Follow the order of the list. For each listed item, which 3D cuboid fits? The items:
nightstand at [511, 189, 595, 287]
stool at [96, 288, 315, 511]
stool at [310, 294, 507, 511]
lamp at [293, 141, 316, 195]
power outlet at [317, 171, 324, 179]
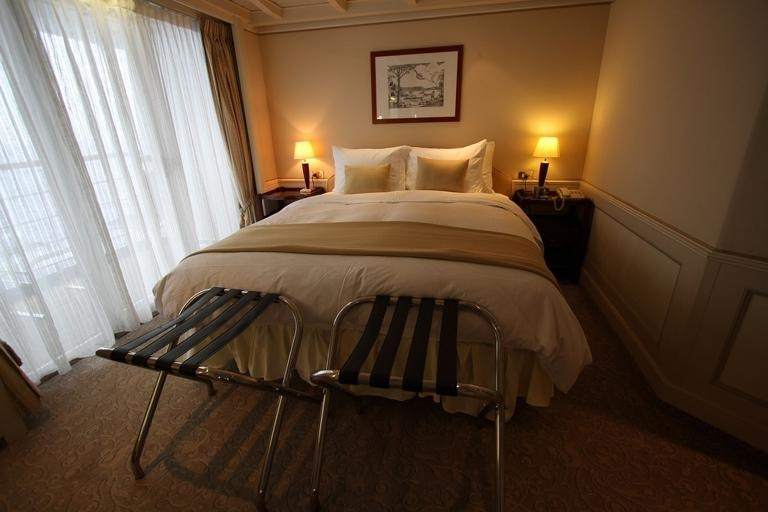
[{"bbox_3d":[1.678,-0.262,4.816,0.804,1.105,0.798,2,36,11],"label":"nightstand"},{"bbox_3d":[-1.016,0.916,3.554,1.479,1.540,1.301,10,27,14],"label":"stool"},{"bbox_3d":[0.166,1.035,3.404,1.546,1.395,1.144,3,43,7],"label":"stool"},{"bbox_3d":[-0.891,-1.004,5.374,0.244,0.549,0.240,-12,14,-32],"label":"lamp"},{"bbox_3d":[-0.742,-0.938,5.495,0.077,0.075,0.018,-4,4,12],"label":"power outlet"}]
